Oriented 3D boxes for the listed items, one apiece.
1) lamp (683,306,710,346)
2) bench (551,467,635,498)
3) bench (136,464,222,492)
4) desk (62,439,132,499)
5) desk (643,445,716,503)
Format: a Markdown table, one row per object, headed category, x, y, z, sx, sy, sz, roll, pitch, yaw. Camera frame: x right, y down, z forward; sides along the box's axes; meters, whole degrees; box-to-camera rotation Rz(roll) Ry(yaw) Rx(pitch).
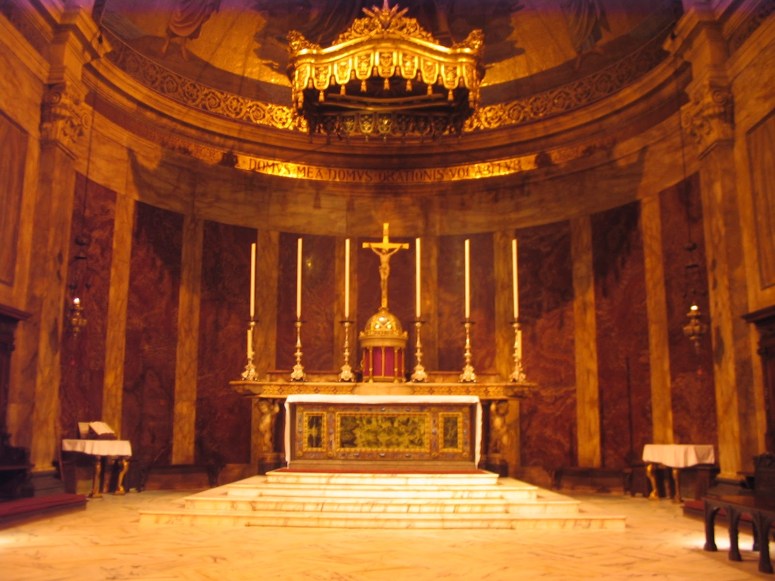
| category | x | y | z | sx | sy | sz | roll | pitch | yaw |
| --- | --- | --- | --- | --- | --- | --- | --- | --- | --- |
| lamp | 3.989 | 0.424 | 10.599 | 0.265 | 0.515 | 0.281 | -4 | 8 | 8 |
| bench | 3.070 | 2.814 | 12.074 | 1.337 | 0.431 | 0.298 | -15 | -23 | 41 |
| bench | -3.068 | 2.778 | 12.083 | 1.351 | 0.429 | 0.263 | 15 | -22 | -37 |
| desk | -3.944 | 2.436 | 11.130 | 0.701 | 0.693 | 0.897 | -9 | -13 | 29 |
| desk | 3.915 | 2.441 | 11.067 | 0.964 | 0.742 | 0.964 | -3 | -8 | 15 |
